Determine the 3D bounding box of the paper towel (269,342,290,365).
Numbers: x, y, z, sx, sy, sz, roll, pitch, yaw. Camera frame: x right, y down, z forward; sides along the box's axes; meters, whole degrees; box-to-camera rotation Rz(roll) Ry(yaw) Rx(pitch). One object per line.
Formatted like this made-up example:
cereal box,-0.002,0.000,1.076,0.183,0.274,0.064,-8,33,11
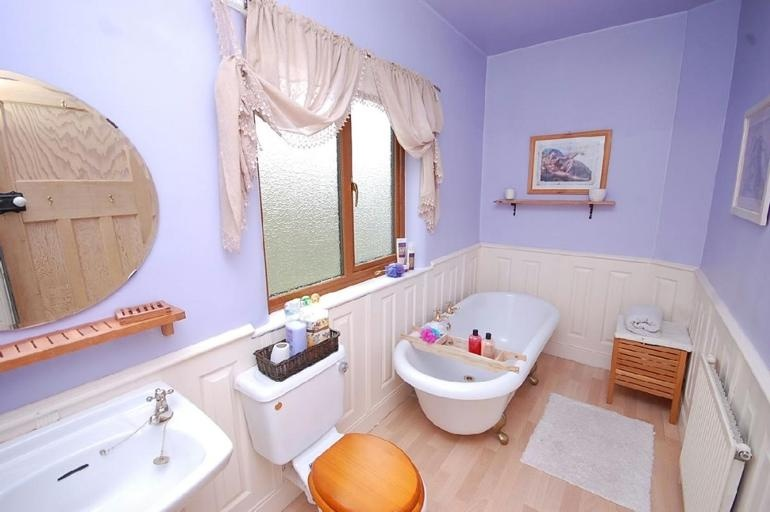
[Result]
paper towel,-0.599,0.551,2.736,0.111,0.108,0.085,4,8,18

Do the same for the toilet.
toilet,-0.496,0.900,3.141,1.230,0.948,0.685,16,27,31

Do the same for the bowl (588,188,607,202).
bowl,1.822,-0.529,4.057,0.148,0.108,0.130,3,15,17

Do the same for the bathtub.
bathtub,0.770,0.844,3.761,0.785,0.480,1.551,8,14,32

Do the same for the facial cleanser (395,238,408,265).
facial cleanser,0.134,-0.039,3.729,0.089,0.198,0.134,-1,14,0

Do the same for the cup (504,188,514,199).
cup,1.140,-0.579,4.368,0.081,0.085,0.082,-2,13,0

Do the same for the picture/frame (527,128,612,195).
picture/frame,1.649,-0.846,4.174,0.595,0.511,0.041,6,13,34

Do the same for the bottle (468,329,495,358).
bottle,0.708,0.644,3.520,0.146,0.215,0.069,11,23,33

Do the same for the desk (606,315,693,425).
desk,2.080,0.776,3.930,0.706,0.944,0.672,8,12,40

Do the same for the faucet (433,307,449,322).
faucet,0.465,0.446,3.910,0.094,0.138,0.140,-1,11,5

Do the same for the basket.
basket,-0.496,0.597,2.829,0.212,0.114,0.392,13,21,35

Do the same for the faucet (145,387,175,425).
faucet,-1.137,0.751,2.393,0.103,0.184,0.141,21,22,38

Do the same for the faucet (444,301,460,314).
faucet,0.565,0.424,4.052,0.101,0.102,0.102,8,14,32
